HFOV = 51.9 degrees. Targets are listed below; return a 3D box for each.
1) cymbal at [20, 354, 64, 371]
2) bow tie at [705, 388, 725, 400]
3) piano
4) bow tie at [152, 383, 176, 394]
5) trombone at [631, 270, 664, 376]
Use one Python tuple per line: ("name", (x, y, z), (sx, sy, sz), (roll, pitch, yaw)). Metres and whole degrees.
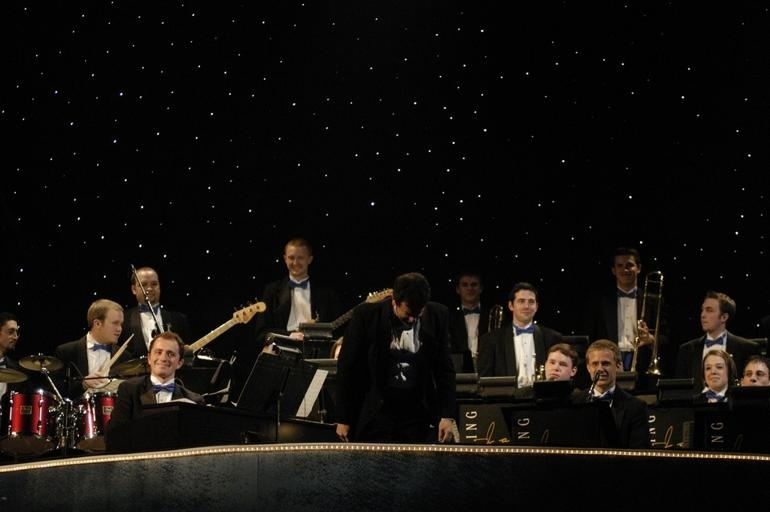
("cymbal", (-3.145, 0.993, 7.292), (0.216, 0.096, 0.227), (10, -36, -19))
("bow tie", (2.733, 1.137, 6.535), (0.127, 0.107, 0.048), (-1, -7, 4))
("piano", (-0.976, 1.142, 5.253), (1.337, 0.298, 0.362), (10, -15, -33))
("bow tie", (-1.739, 1.039, 6.269), (0.197, 0.077, 0.102), (2, -13, -3))
("trombone", (2.614, 0.709, 7.898), (0.300, 0.936, 0.309), (15, -15, -13))
